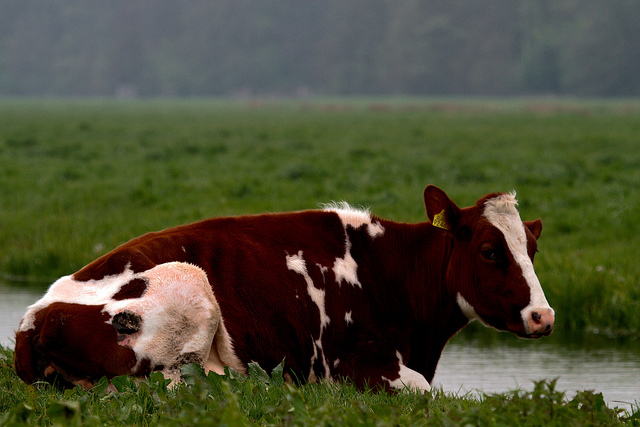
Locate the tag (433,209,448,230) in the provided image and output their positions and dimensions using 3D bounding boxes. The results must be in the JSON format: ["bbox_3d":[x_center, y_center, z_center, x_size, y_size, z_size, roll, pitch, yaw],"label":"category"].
[{"bbox_3d":[2.052,0.060,21.006,0.279,0.336,0.021,8,19,11],"label":"tag"}]
